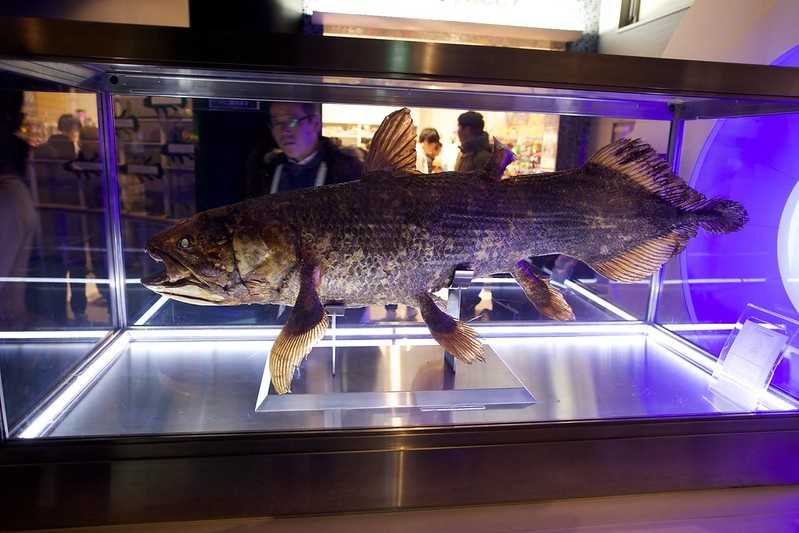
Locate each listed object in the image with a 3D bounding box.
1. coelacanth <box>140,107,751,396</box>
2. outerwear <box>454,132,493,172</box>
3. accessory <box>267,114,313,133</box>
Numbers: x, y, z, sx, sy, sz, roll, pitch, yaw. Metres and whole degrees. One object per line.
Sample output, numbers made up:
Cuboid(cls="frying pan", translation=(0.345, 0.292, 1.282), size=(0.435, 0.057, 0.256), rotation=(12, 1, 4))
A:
Cuboid(cls="coelacanth", translation=(0.517, -0.113, 2.509), size=(2.705, 1.146, 0.803), rotation=(-9, 3, -5))
Cuboid(cls="outerwear", translation=(0.271, -0.408, 2.089), size=(0.076, 0.118, 0.126), rotation=(20, 23, 8))
Cuboid(cls="accessory", translation=(-0.402, -0.507, 2.098), size=(0.080, 0.023, 0.082), rotation=(-2, 21, 31))
